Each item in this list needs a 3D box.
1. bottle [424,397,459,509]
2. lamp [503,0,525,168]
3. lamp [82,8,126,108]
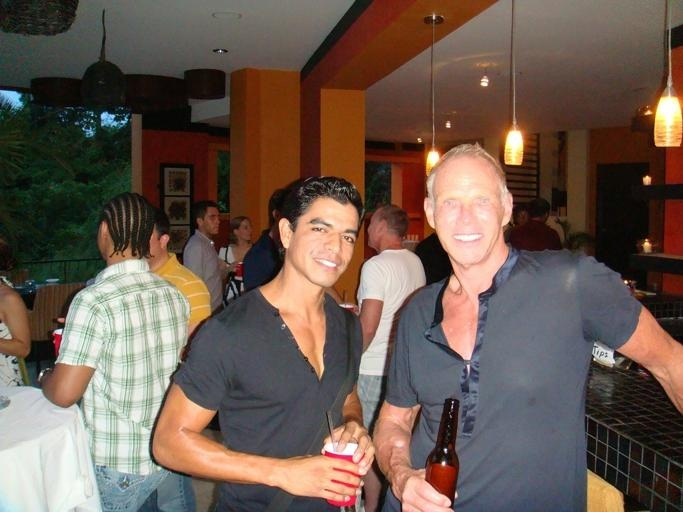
[{"bbox_3d":[0.345,0.648,1.920,0.107,0.360,0.105,1,4,0],"label":"bottle"},{"bbox_3d":[1.882,-1.911,6.184,0.227,1.926,0.241,-5,-37,19],"label":"lamp"},{"bbox_3d":[-2.473,-2.013,5.893,0.441,1.166,0.435,0,-2,-13],"label":"lamp"}]
